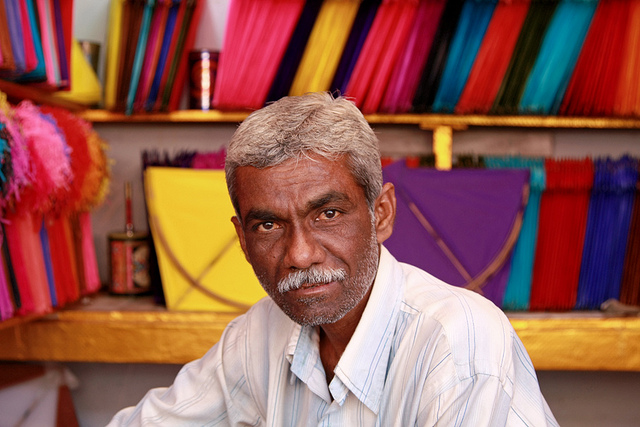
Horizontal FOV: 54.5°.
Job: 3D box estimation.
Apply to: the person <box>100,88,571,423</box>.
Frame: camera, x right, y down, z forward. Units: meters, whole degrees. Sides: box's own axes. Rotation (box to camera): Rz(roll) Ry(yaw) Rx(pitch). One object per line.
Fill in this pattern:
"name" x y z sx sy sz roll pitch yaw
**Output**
"person" 0.247 0.287 2.255 1.577 0.928 1.019 -7 2 25
